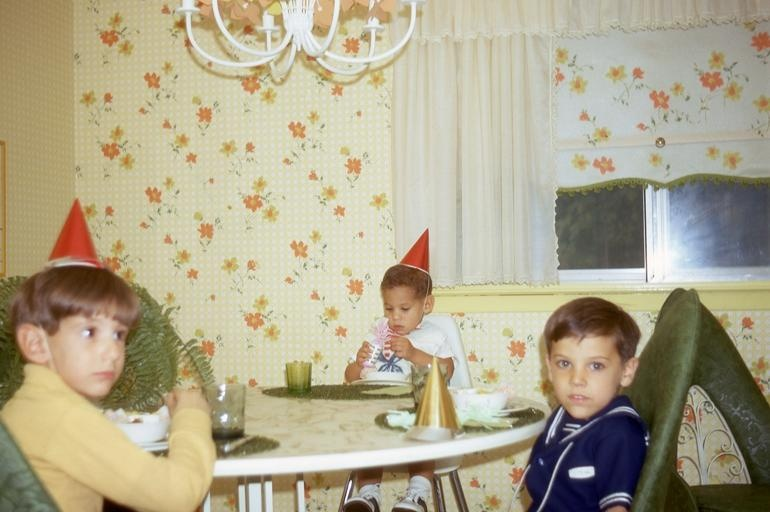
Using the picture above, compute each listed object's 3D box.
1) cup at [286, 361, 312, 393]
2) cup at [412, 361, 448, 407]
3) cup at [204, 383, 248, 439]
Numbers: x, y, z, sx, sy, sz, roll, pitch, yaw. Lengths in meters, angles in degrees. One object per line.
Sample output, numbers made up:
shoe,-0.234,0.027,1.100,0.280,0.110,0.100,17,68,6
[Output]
cup,-0.335,0.460,3.099,0.095,0.110,0.104,-2,0,0
cup,0.152,0.438,2.765,0.124,0.169,0.137,-2,-7,10
cup,-0.502,0.489,2.553,0.137,0.187,0.154,-1,-6,-5
